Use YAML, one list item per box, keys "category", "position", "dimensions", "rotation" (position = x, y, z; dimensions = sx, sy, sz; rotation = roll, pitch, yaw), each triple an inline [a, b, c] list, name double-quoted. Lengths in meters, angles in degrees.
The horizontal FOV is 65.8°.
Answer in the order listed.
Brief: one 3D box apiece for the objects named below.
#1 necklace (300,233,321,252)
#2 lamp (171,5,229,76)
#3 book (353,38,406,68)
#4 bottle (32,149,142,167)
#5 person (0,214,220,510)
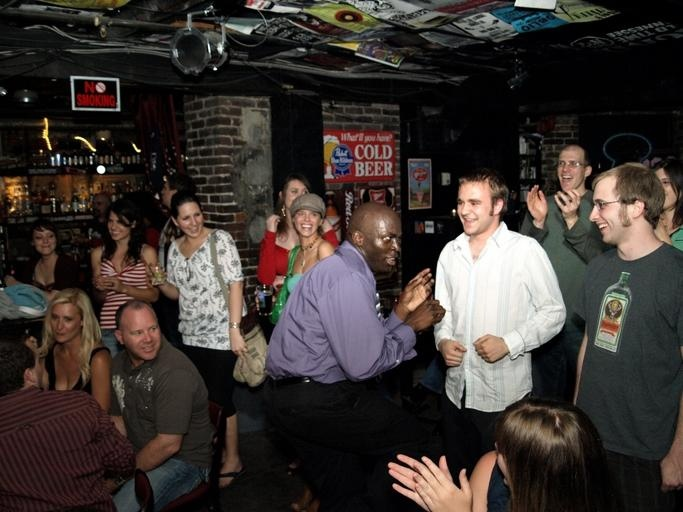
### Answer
- category: "necklace"
  position: [-0.241, -0.087, 4.026]
  dimensions: [0.134, 0.052, 0.103]
  rotation: [-35, 10, 6]
- category: "lamp"
  position: [-1.170, -1.731, 4.343]
  dimensions: [0.414, 0.498, 0.530]
  rotation: [9, 21, 23]
- category: "book"
  position: [0.338, -1.975, 5.211]
  dimensions: [0.383, 0.122, 0.645]
  rotation: [3, 7, 29]
- category: "bottle"
  position: [-3.960, -1.509, 8.246]
  dimensions: [1.527, 0.295, 0.386]
  rotation: [-3, 7, -24]
- category: "person"
  position: [-1.462, 0.900, 3.591]
  dimensions: [1.247, 1.264, 0.681]
  rotation: [5, 8, 42]
